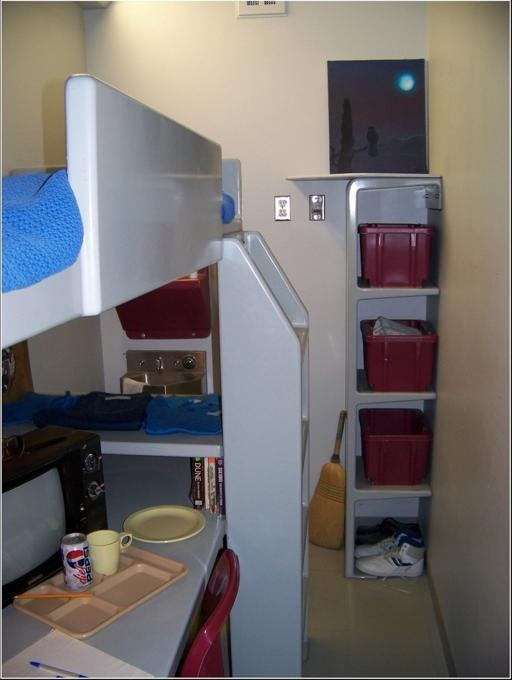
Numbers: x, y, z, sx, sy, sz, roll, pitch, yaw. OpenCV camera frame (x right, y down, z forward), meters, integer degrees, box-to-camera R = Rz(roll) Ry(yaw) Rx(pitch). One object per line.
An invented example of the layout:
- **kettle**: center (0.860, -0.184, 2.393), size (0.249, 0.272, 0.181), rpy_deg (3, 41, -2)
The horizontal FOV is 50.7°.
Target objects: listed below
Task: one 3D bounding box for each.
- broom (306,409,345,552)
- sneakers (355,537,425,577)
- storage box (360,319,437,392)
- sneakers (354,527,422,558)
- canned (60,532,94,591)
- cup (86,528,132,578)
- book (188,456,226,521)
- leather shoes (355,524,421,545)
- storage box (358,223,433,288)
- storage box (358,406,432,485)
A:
- **broom**: center (0.363, 0.700, 2.660), size (0.179, 0.698, 0.203), rpy_deg (2, 4, 5)
- **sneakers**: center (0.633, 0.999, 2.529), size (0.341, 0.183, 0.144), rpy_deg (2, 8, 2)
- **storage box**: center (0.673, 0.058, 2.501), size (0.304, 0.279, 0.454), rpy_deg (-1, 12, 9)
- **sneakers**: center (0.596, 0.938, 2.550), size (0.351, 0.183, 0.132), rpy_deg (-4, 3, 8)
- **canned**: center (-0.377, 0.463, 1.133), size (0.053, 0.105, 0.052), rpy_deg (-11, 13, -43)
- **cup**: center (-0.321, 0.475, 1.208), size (0.094, 0.081, 0.059), rpy_deg (-6, 11, -36)
- **book**: center (-0.132, 0.403, 1.499), size (0.122, 0.201, 0.143), rpy_deg (0, 2, 3)
- **leather shoes**: center (0.636, 0.943, 2.624), size (0.241, 0.095, 0.143), rpy_deg (-3, -7, 10)
- **storage box**: center (0.598, -0.362, 2.303), size (0.253, 0.270, 0.279), rpy_deg (0, 8, 4)
- **storage box**: center (0.642, 0.506, 2.554), size (0.214, 0.194, 0.366), rpy_deg (0, -1, 6)
